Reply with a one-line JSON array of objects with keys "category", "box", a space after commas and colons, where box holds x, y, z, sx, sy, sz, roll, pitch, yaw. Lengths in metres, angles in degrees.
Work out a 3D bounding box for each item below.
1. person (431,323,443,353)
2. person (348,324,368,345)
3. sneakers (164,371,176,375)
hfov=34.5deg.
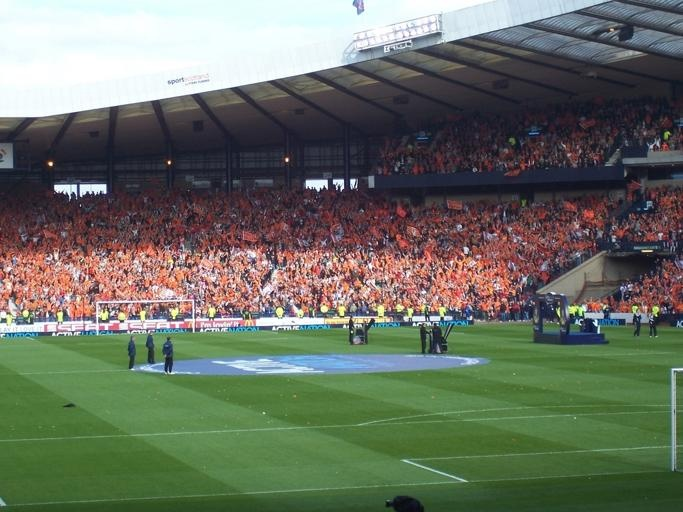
[{"category": "person", "box": [4.943, 4.250, 57.120, 0.522, 1.464, 0.400, 0, -2, 10]}, {"category": "person", "box": [0.913, 4.346, 62.428, 0.999, 1.124, 1.376, 1, -2, -4]}, {"category": "sneakers", "box": [-7.895, 5.272, 50.113, 0.533, 0.194, 0.168, -2, -4, 18]}]
